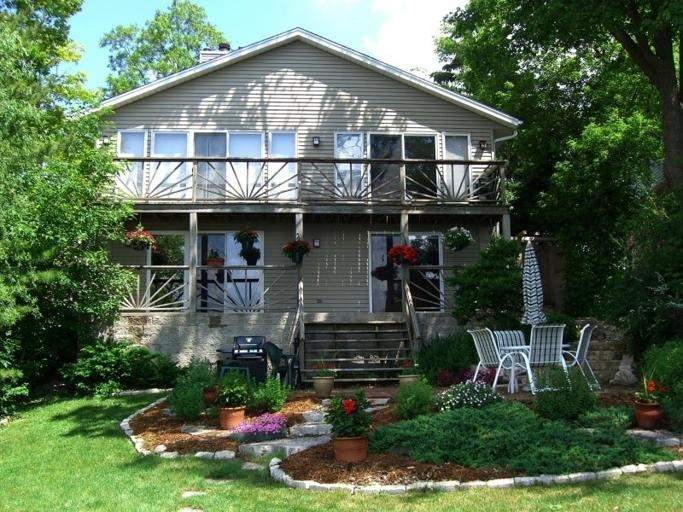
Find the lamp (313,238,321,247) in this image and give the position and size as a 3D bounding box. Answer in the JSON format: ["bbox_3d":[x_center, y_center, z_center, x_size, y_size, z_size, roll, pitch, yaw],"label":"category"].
[{"bbox_3d":[-0.733,-0.376,19.131,0.261,0.244,0.191,0,-5,-6],"label":"lamp"}]

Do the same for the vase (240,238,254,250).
[{"bbox_3d":[-2.540,-0.357,18.021,0.469,0.357,0.379,2,-7,-12],"label":"vase"}]

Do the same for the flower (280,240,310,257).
[{"bbox_3d":[-1.176,-0.190,17.238,0.496,0.333,0.491,-3,-4,24],"label":"flower"}]

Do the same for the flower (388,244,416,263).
[{"bbox_3d":[1.524,-0.056,17.334,0.537,0.430,0.537,0,2,-36],"label":"flower"}]

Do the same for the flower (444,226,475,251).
[{"bbox_3d":[3.052,-0.516,17.845,0.716,0.582,0.694,5,-5,-37],"label":"flower"}]

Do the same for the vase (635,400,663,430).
[{"bbox_3d":[5.039,2.679,11.244,0.423,0.372,0.442,0,-13,4],"label":"vase"}]

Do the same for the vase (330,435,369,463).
[{"bbox_3d":[0.120,2.980,10.504,0.459,0.265,0.433,0,-14,-3],"label":"vase"}]

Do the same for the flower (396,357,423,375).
[{"bbox_3d":[1.486,2.426,14.709,0.405,0.348,0.419,-9,-27,38],"label":"flower"}]

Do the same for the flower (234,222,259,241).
[{"bbox_3d":[-2.613,-0.696,18.141,0.595,0.401,0.592,-2,-3,29],"label":"flower"}]

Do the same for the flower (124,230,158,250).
[{"bbox_3d":[-5.128,-0.431,17.247,0.625,0.396,0.603,3,2,-11],"label":"flower"}]

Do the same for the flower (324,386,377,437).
[{"bbox_3d":[0.050,2.467,10.670,0.816,0.773,0.661,9,-17,-31],"label":"flower"}]

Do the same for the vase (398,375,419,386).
[{"bbox_3d":[1.342,2.507,13.851,0.508,0.263,0.492,-1,-8,7],"label":"vase"}]

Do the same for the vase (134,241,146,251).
[{"bbox_3d":[-5.145,-0.277,17.271,0.297,0.198,0.271,-1,-6,37],"label":"vase"}]

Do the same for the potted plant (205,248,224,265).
[{"bbox_3d":[-3.605,0.033,19.024,0.462,0.414,0.449,5,-12,-21],"label":"potted plant"}]

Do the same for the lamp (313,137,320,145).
[{"bbox_3d":[-0.719,-3.308,19.361,0.220,0.260,0.142,1,-7,-7],"label":"lamp"}]

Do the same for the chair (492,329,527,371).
[{"bbox_3d":[3.257,1.839,13.467,0.661,0.859,0.737,1,-11,-12],"label":"chair"}]
